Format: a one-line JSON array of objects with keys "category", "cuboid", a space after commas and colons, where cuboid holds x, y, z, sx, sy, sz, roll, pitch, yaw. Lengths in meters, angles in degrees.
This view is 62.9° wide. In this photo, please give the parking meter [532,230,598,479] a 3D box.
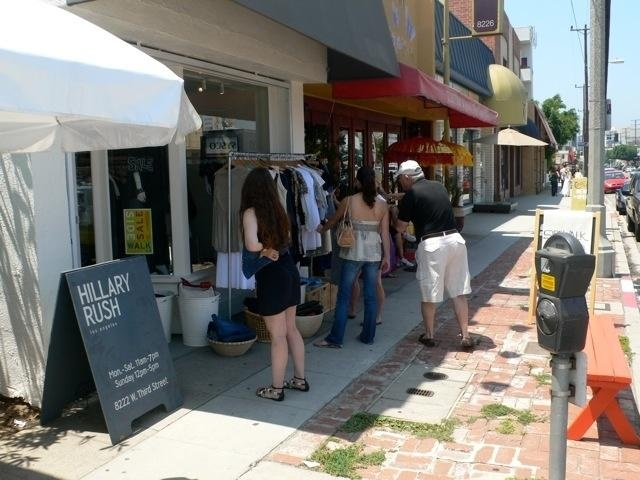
[{"category": "parking meter", "cuboid": [1.455, 0.733, 3.206, 0.331, 1.545, 0.288, 3, 9, 28]}]

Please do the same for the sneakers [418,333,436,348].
[{"category": "sneakers", "cuboid": [1.342, 1.282, 6.695, 0.107, 0.100, 0.235, -5, 13, -17]}]

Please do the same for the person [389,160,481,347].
[{"category": "person", "cuboid": [1.429, 0.183, 6.551, 0.987, 2.319, 0.760, 1, 8, 17]}]

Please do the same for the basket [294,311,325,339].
[{"category": "basket", "cuboid": [-0.139, 1.115, 6.953, 0.303, 0.248, 0.325, 0, -2, 1]}]

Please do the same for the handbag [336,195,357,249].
[{"category": "handbag", "cuboid": [0.322, -0.207, 6.477, 0.233, 0.734, 0.589, 1, 6, -5]}]

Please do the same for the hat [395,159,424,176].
[{"category": "hat", "cuboid": [1.072, -0.911, 6.544, 0.178, 0.149, 0.259, -3, 9, -19]}]

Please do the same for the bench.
[{"category": "bench", "cuboid": [2.306, 1.212, 4.305, 0.385, 0.409, 1.140, 1, 11, 16]}]

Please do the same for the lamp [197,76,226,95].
[{"category": "lamp", "cuboid": [-1.548, -2.153, 7.345, 0.107, 0.238, 0.584, 0, 5, 28]}]

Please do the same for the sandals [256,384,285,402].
[{"category": "sandals", "cuboid": [-0.495, 1.527, 5.277, 0.243, 0.108, 0.140, 10, 10, 27]}]

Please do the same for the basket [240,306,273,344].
[{"category": "basket", "cuboid": [-0.858, 1.112, 6.868, 0.359, 0.321, 0.422, -5, 6, -43]}]

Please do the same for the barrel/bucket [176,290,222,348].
[{"category": "barrel/bucket", "cuboid": [-1.498, 0.995, 6.770, 0.588, 0.652, 0.630, 0, 0, 0]}]

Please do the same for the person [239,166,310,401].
[{"category": "person", "cuboid": [-0.443, 0.446, 5.154, 0.623, 2.287, 0.344, -3, 8, -12]}]

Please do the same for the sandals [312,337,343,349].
[{"category": "sandals", "cuboid": [0.080, 1.288, 6.682, 0.343, 0.157, 0.135, 5, -1, 8]}]

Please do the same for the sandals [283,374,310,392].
[{"category": "sandals", "cuboid": [-0.247, 1.495, 5.478, 0.256, 0.115, 0.130, 6, 7, 33]}]

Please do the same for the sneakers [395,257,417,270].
[{"category": "sneakers", "cuboid": [1.861, 0.511, 11.286, 0.203, 0.288, 0.634, -3, 1, -20]}]
